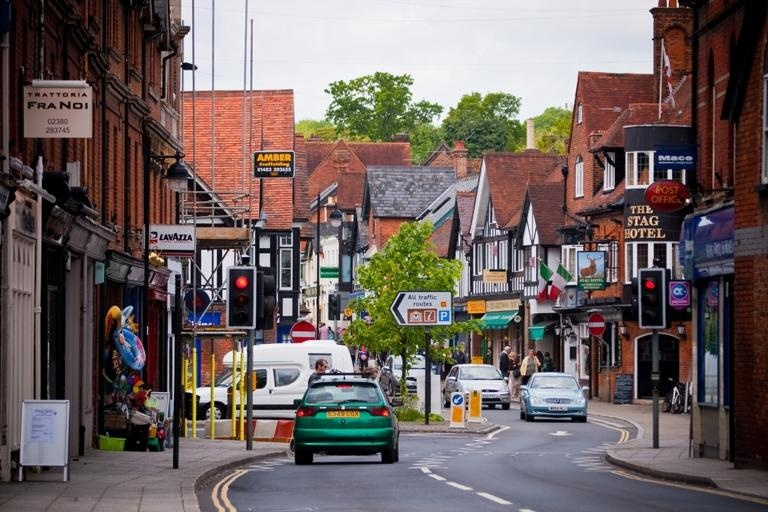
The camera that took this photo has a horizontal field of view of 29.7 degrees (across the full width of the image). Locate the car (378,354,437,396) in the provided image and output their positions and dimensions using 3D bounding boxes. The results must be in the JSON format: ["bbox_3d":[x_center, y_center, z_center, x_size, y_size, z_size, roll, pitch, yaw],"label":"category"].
[{"bbox_3d":[-0.426,4.917,61.084,2.161,1.913,4.401,-1,-6,-6],"label":"car"}]

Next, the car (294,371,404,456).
[{"bbox_3d":[-0.940,3.755,33.863,1.989,1.522,3.691,1,27,-1],"label":"car"}]

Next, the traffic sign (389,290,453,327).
[{"bbox_3d":[1.188,1.713,47.062,1.945,1.180,0.333,-1,-8,-6],"label":"traffic sign"}]

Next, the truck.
[{"bbox_3d":[-3.413,3.841,45.691,5.168,2.926,2.482,1,-4,-6],"label":"truck"}]

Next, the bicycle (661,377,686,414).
[{"bbox_3d":[10.603,5.193,53.046,0.805,1.051,1.642,8,0,-4],"label":"bicycle"}]

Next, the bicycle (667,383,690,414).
[{"bbox_3d":[10.557,5.172,52.531,0.765,1.154,1.172,-3,-8,9],"label":"bicycle"}]

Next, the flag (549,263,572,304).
[{"bbox_3d":[8.201,1.213,68.496,0.878,1.448,3.140,-2,-9,3],"label":"flag"}]
